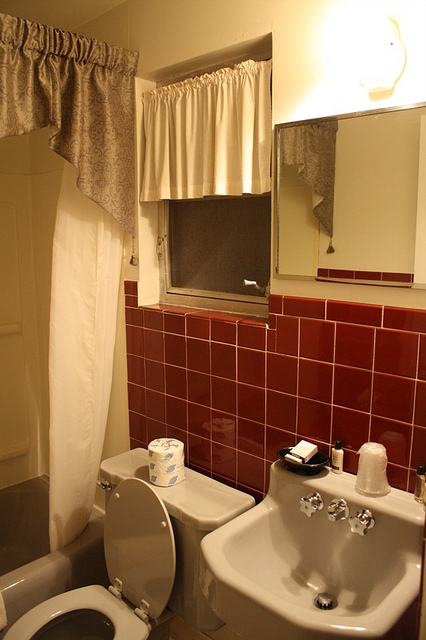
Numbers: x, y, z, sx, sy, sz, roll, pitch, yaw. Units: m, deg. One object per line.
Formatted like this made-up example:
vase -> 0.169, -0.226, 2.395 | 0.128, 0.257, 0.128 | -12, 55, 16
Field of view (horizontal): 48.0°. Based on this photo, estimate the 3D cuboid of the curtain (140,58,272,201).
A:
curtain -> -0.050, -0.641, 1.673 | 0.070, 0.427, 0.631 | -5, 8, -42

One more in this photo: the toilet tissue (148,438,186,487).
toilet tissue -> -0.153, 0.470, 1.641 | 0.114, 0.133, 0.120 | -9, 14, -40

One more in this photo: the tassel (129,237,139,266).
tassel -> -0.333, -0.283, 1.986 | 0.024, 0.113, 0.061 | -4, 7, -39

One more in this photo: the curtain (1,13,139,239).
curtain -> -0.454, -0.658, 1.634 | 0.096, 0.703, 0.569 | 4, 7, 31

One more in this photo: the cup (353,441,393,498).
cup -> 0.395, 0.369, 1.188 | 0.092, 0.115, 0.093 | -1, 8, 0
